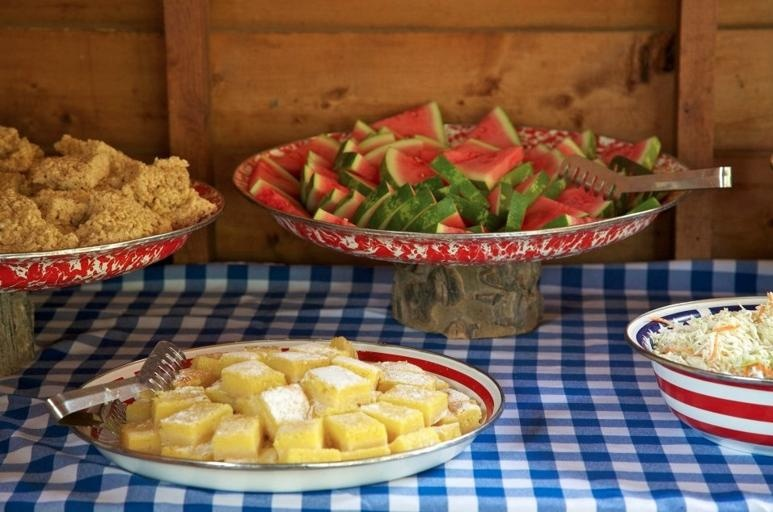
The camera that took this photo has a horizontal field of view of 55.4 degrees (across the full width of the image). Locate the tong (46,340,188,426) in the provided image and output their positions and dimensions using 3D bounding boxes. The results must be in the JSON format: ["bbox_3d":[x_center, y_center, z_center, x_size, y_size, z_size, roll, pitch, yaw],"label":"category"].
[{"bbox_3d":[-0.454,0.214,1.332,0.210,0.120,0.216,-6,4,8],"label":"tong"}]

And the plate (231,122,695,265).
[{"bbox_3d":[0.138,-0.125,1.737,1.046,0.279,0.646,3,15,17],"label":"plate"}]

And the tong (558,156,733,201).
[{"bbox_3d":[0.579,-0.183,1.636,0.250,0.098,0.337,-4,9,-21],"label":"tong"}]
